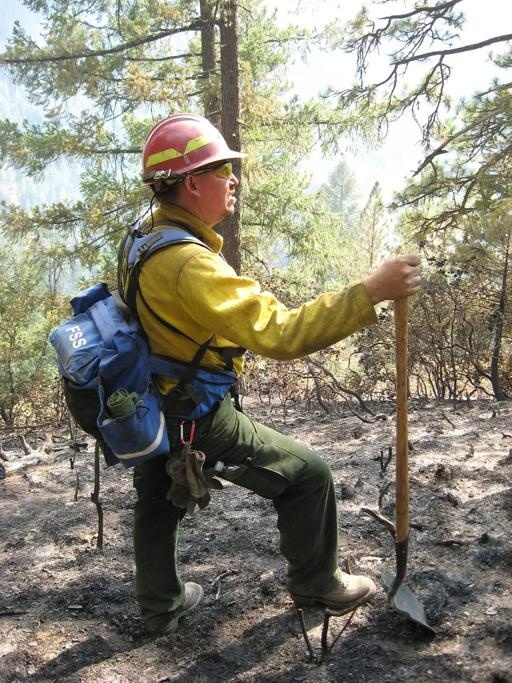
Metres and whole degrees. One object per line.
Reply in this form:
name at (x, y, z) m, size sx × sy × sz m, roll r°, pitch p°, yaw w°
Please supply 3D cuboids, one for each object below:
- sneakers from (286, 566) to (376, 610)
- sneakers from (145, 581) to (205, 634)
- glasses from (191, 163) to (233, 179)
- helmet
sneakers at (0.357, 1.152, 2.956) m, size 0.382 × 0.136 × 0.182 m, roll -5°, pitch -2°, yaw 3°
sneakers at (-0.385, 1.308, 3.103) m, size 0.124 × 0.136 × 0.351 m, roll 4°, pitch 8°, yaw 21°
glasses at (-0.181, -0.751, 2.751) m, size 0.129 × 0.032 × 0.090 m, roll -12°, pitch 17°, yaw -1°
helmet at (-0.308, -0.810, 2.764) m, size 0.442 × 0.225 × 0.311 m, roll -14°, pitch 20°, yaw -6°
